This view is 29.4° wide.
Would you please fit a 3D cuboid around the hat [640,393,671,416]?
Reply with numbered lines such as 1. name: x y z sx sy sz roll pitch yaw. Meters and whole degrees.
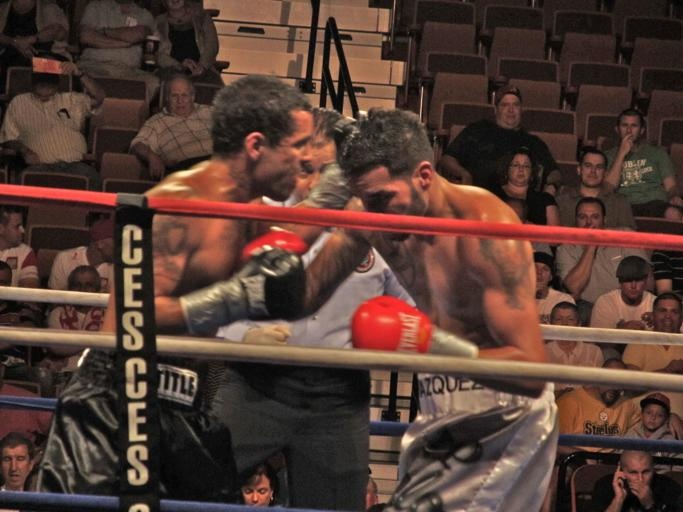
1. hat: 2.018 0.951 8.357 0.125 0.090 0.181 10 -14 41
